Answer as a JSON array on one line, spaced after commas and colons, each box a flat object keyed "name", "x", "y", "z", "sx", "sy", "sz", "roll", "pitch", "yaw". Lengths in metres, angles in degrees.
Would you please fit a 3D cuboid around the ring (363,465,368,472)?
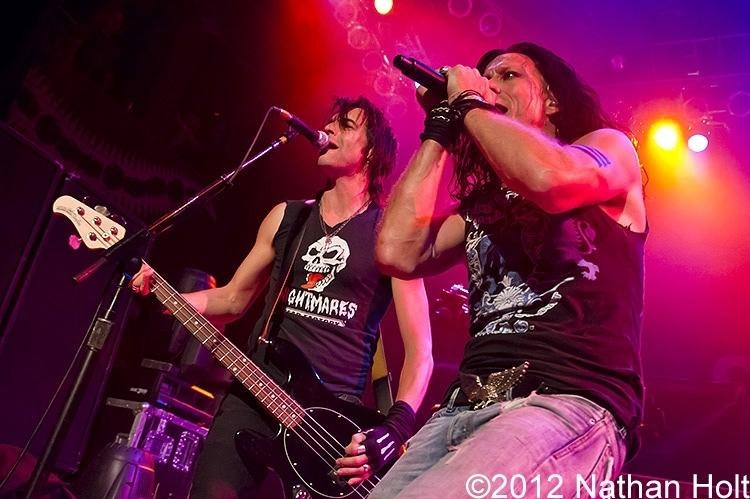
[{"name": "ring", "x": -0.051, "y": 1.169, "z": 2.989, "sx": 0.028, "sy": 0.030, "sz": 0.007, "roll": 4, "pitch": -5, "yaw": -17}]

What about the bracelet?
[{"name": "bracelet", "x": 0.368, "y": -0.612, "z": 2.635, "sx": 0.310, "sy": 0.115, "sz": 0.245, "roll": 4, "pitch": -57, "yaw": 47}]

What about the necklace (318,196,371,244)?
[{"name": "necklace", "x": -0.214, "y": -0.192, "z": 3.915, "sx": 0.075, "sy": 0.304, "sz": 0.309, "roll": 28, "pitch": -14, "yaw": -34}]

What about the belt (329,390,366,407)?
[{"name": "belt", "x": -0.175, "y": 0.906, "z": 3.410, "sx": 0.133, "sy": 0.044, "sz": 0.100, "roll": 19, "pitch": -5, "yaw": 2}]

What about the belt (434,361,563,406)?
[{"name": "belt", "x": 0.484, "y": 0.530, "z": 2.282, "sx": 0.530, "sy": 0.191, "sz": 0.226, "roll": -10, "pitch": -7, "yaw": 42}]

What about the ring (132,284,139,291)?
[{"name": "ring", "x": -1.490, "y": 0.242, "z": 3.477, "sx": 0.035, "sy": 0.010, "sz": 0.036, "roll": 2, "pitch": -71, "yaw": 6}]

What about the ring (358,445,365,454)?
[{"name": "ring", "x": -0.078, "y": 1.067, "z": 2.983, "sx": 0.043, "sy": 0.034, "sz": 0.041, "roll": -1, "pitch": -57, "yaw": -1}]
